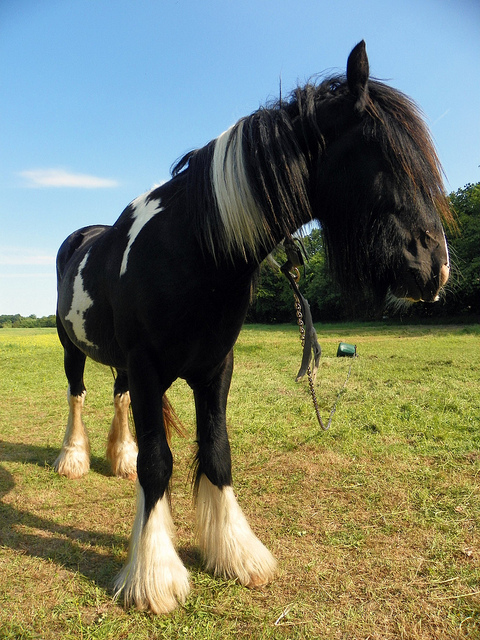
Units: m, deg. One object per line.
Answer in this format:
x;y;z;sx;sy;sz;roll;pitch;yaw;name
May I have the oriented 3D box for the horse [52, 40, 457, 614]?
-0.364;0.199;3.186;0.875;2.429;2.700;8;-9;-40;horse
